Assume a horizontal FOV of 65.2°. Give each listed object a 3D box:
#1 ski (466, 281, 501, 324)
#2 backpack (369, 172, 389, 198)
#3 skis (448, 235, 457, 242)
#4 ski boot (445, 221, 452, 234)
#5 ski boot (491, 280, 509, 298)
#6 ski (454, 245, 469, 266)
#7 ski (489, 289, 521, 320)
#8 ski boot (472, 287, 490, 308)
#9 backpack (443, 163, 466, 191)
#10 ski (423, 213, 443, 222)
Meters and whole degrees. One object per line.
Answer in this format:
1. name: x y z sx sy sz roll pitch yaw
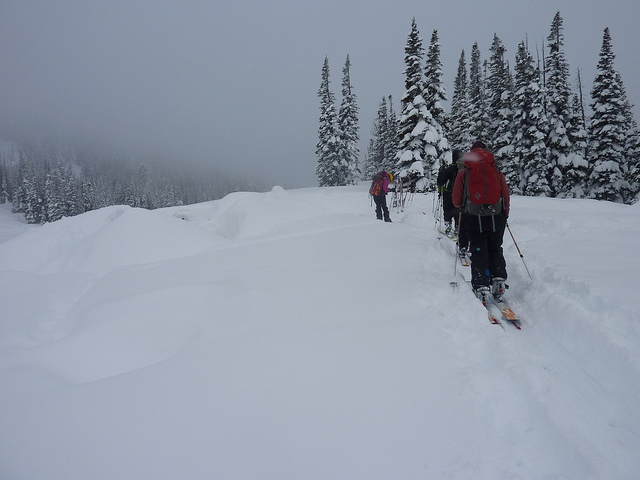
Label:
1. ski: 3.345 1.272 10.217 0.166 0.139 1.150 -7 39 0
2. backpack: 1.828 -1.776 15.859 0.292 0.783 0.790 -6 12 -35
3. skis: 3.465 -0.056 13.180 0.062 0.085 0.267 -2 22 2
4. ski boot: 3.487 -0.369 13.676 0.088 0.261 0.153 -1 4 -40
5. ski boot: 3.694 0.975 10.280 0.252 0.402 0.338 4 21 19
6. ski: 3.328 0.361 11.783 0.221 0.193 0.426 0 41 2
7. ski: 3.680 1.286 10.109 0.203 0.041 0.848 -6 22 -3
8. ski boot: 3.326 1.165 10.328 0.235 0.400 0.327 8 -6 -27
9. backpack: 3.416 -1.660 13.067 0.238 0.768 0.985 0 11 -4
10. ski: 3.580 -0.763 16.039 0.133 0.060 1.763 -1 12 -5
